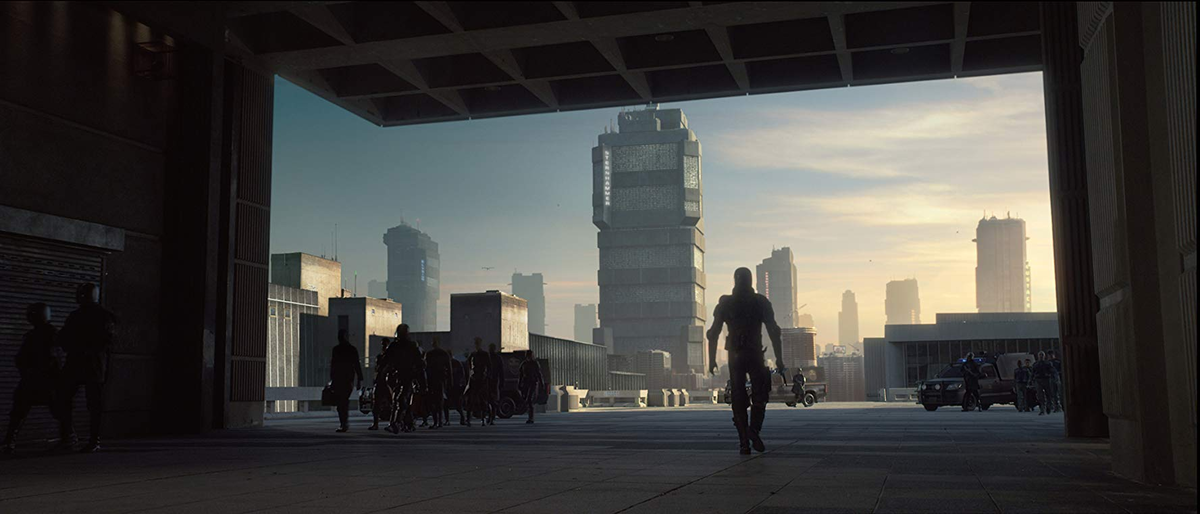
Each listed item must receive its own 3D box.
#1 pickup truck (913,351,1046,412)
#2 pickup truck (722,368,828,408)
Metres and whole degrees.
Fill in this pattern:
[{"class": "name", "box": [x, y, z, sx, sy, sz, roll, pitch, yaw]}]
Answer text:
[{"class": "pickup truck", "box": [21.058, 6.826, 52.929, 6.655, 2.312, 3.135, 4, -11, -6]}, {"class": "pickup truck", "box": [11.540, 8.473, 64.163, 6.715, 1.911, 2.901, -3, 6, -10]}]
